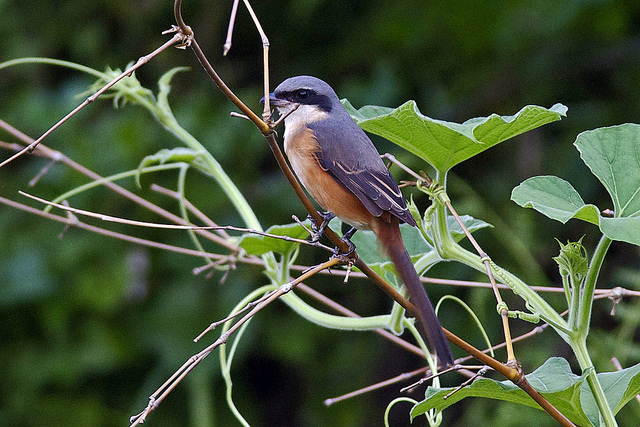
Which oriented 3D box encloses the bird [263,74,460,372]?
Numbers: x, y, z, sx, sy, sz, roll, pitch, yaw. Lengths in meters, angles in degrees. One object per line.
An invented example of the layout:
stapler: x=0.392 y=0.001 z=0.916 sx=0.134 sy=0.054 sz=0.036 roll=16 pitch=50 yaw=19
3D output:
bird: x=0.196 y=-0.104 z=3.724 sx=0.448 sy=1.883 sz=0.995 roll=-31 pitch=-6 yaw=1
